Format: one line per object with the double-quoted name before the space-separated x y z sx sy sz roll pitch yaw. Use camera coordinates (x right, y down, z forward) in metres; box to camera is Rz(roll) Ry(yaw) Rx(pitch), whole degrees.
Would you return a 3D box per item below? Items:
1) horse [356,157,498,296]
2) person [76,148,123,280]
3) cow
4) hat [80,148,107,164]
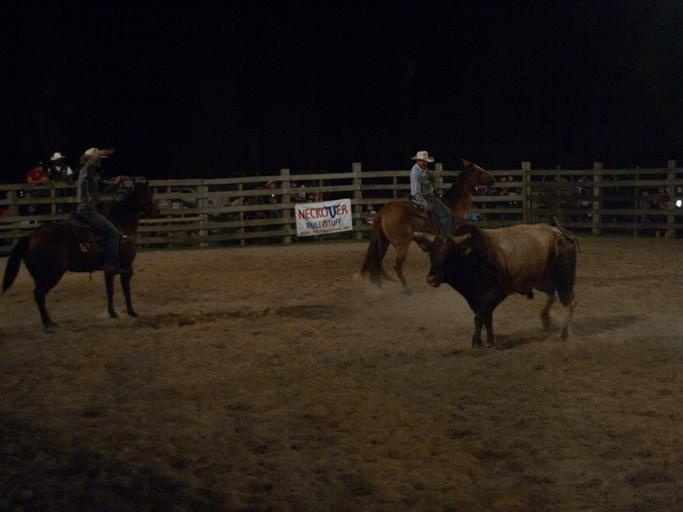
"horse" 1.462 -0.528 12.464 3.080 2.185 0.716 -10 22 -35
"person" -3.451 -0.663 9.759 0.577 1.738 0.578 -2 9 -7
"cow" 1.986 0.343 8.316 2.045 1.469 0.554 -5 10 -21
"hat" -3.483 -1.446 9.693 0.334 0.142 0.286 -11 20 -41
